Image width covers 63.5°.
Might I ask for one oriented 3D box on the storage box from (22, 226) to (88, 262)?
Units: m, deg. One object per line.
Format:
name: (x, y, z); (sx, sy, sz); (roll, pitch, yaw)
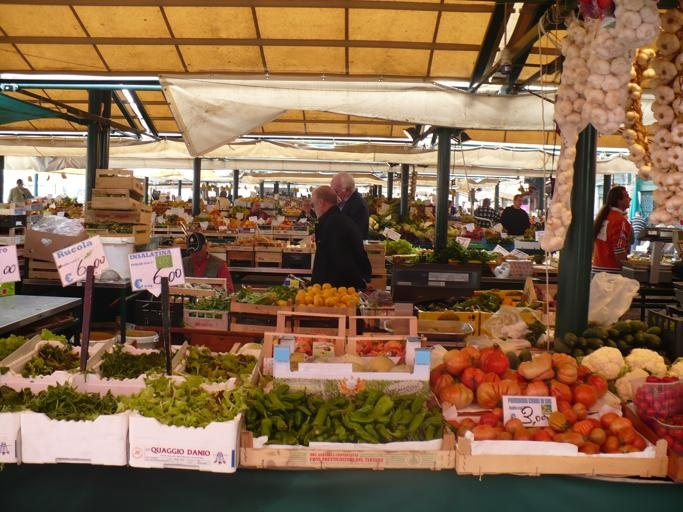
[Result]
storage box: (-3.104, -0.115, 5.945); (0.613, 0.353, 0.427); (-10, 15, -29)

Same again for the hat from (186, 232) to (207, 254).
hat: (-1.741, -0.157, 6.587); (0.214, 0.263, 0.206); (-6, 14, -14)

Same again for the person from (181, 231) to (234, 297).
person: (-1.647, 0.024, 6.658); (0.448, 0.655, 1.068); (-9, 15, -26)

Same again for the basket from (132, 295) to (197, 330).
basket: (-1.884, 0.598, 5.801); (0.499, 0.288, 0.481); (0, -6, 1)

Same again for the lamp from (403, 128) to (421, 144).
lamp: (1.240, -2.029, 9.328); (0.238, 0.272, 0.387); (1, 14, 15)

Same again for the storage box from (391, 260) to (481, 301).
storage box: (0.924, 0.135, 5.544); (0.665, 0.312, 0.451); (0, 8, -3)

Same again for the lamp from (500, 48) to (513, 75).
lamp: (1.530, -1.795, 5.068); (0.103, 0.203, 0.251); (1, 14, 16)
